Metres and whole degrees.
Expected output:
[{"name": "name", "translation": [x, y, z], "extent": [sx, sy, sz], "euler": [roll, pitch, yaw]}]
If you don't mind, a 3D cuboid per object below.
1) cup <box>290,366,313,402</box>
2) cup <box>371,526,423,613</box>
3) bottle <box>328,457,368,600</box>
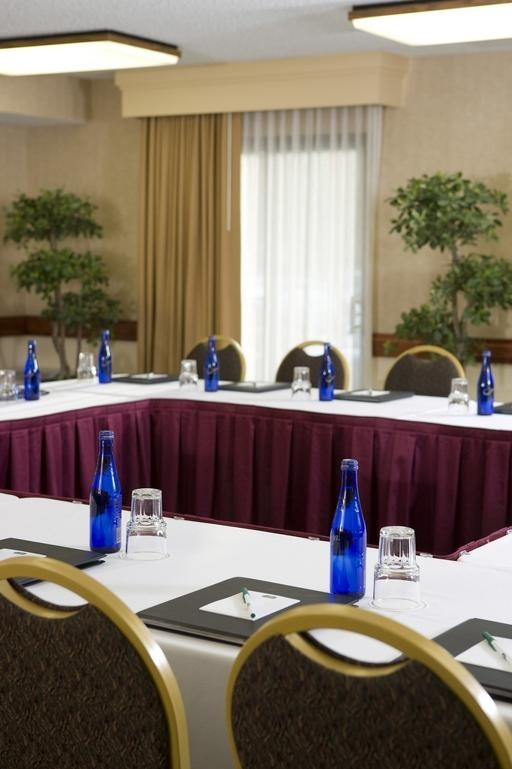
[{"name": "cup", "translation": [0.290, -0.003, 3.845], "extent": [0.132, 0.269, 0.154], "euler": [3, 7, 26]}, {"name": "cup", "translation": [0.272, 0.344, 1.230], "extent": [0.094, 0.161, 0.146], "euler": [0, 7, 15]}, {"name": "bottle", "translation": [0.179, 0.288, 1.254], "extent": [0.065, 0.269, 0.079], "euler": [-1, 6, 7]}]
